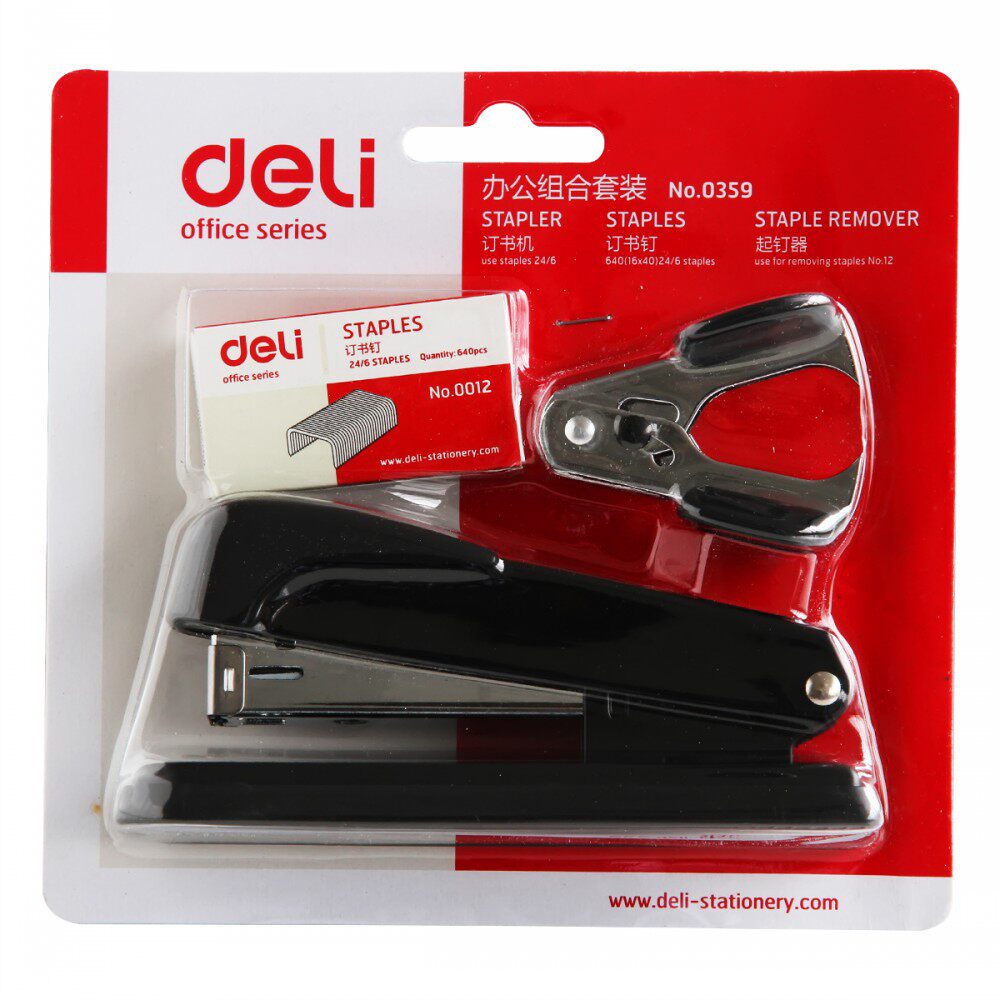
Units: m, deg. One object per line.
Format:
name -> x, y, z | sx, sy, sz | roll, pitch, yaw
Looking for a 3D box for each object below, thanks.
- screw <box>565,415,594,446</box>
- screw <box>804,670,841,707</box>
screw -> 0.120, -0.100, 1.553 | 0.051, 0.013, 0.039 | 1, 80, 0
screw -> 0.448, 0.261, 1.476 | 0.058, 0.031, 0.044 | -3, 94, -3
